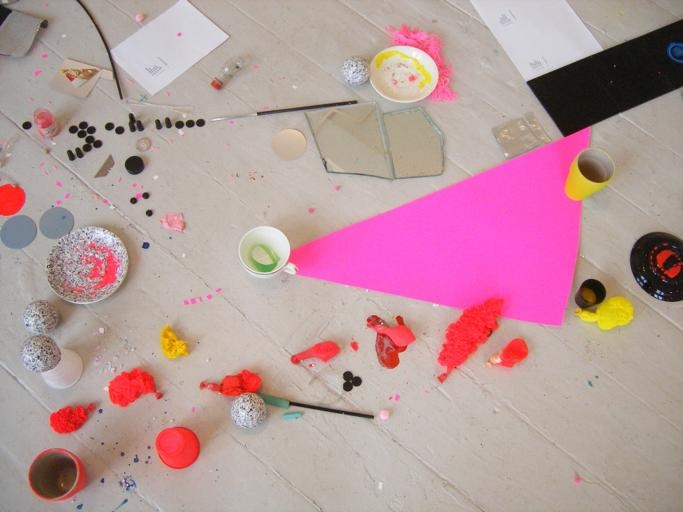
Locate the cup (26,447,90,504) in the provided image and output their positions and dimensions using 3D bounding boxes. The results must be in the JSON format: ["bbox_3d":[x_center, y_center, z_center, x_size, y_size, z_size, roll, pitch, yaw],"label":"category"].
[{"bbox_3d":[-0.817,0.618,1.930,0.141,0.130,0.181,4,89,-17],"label":"cup"}]

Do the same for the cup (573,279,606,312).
[{"bbox_3d":[0.794,0.126,2.147,0.085,0.059,0.105,23,78,27],"label":"cup"}]

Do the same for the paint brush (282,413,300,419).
[{"bbox_3d":[-0.148,0.478,2.028,0.065,0.017,0.022,-1,96,1],"label":"paint brush"}]

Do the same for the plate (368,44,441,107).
[{"bbox_3d":[0.218,-0.629,2.338,0.227,0.098,0.218,-15,64,14],"label":"plate"}]

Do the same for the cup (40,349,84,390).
[{"bbox_3d":[-0.828,0.347,2.030,0.105,0.117,0.124,-27,85,-21],"label":"cup"}]

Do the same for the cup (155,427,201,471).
[{"bbox_3d":[-0.488,0.567,1.987,0.132,0.087,0.108,-27,61,7],"label":"cup"}]

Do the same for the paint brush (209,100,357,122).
[{"bbox_3d":[-0.202,-0.497,2.309,0.364,0.018,0.022,-8,107,0],"label":"paint brush"}]
